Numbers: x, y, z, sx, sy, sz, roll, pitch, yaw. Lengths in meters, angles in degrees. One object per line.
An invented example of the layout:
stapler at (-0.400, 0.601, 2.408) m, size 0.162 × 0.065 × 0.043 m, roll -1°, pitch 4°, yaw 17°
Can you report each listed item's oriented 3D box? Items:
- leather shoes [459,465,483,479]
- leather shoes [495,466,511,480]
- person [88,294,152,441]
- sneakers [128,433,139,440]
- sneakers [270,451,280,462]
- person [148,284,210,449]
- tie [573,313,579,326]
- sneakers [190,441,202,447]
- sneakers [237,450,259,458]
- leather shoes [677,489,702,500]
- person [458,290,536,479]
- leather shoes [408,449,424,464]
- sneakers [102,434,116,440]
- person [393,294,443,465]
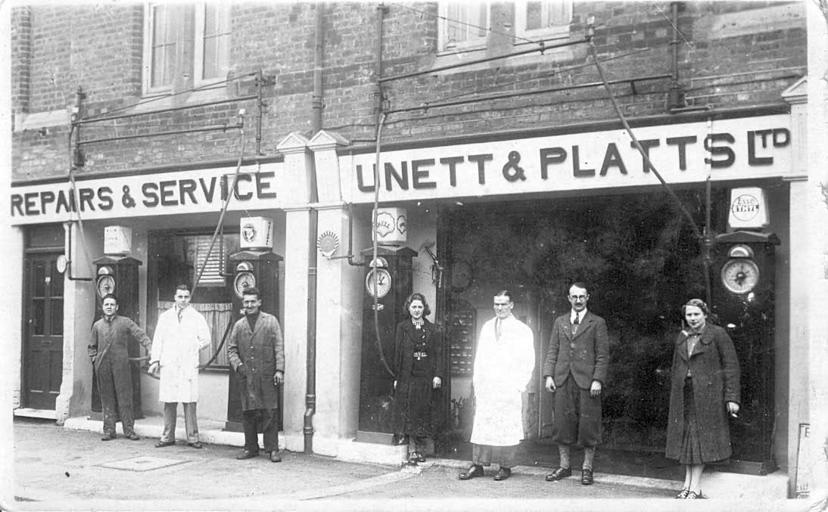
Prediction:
leather shoes at (0.895, 3.156, 14.464) m, size 0.428 × 0.186 × 0.162 m, roll -1°, pitch -6°, yaw -9°
leather shoes at (1.304, 3.137, 14.253) m, size 0.260 × 0.182 × 0.099 m, roll 3°, pitch -8°, yaw -19°
person at (-5.071, 1.851, 16.712) m, size 0.873 × 2.481 × 0.930 m, roll 3°, pitch -8°, yaw -14°
sneakers at (-4.689, 2.998, 16.417) m, size 0.159 × 0.076 × 0.083 m, roll -3°, pitch -3°, yaw 33°
sneakers at (-2.132, 3.079, 15.206) m, size 0.175 × 0.178 × 0.174 m, roll 2°, pitch -8°, yaw -12°
person at (-3.824, 1.781, 16.026) m, size 0.958 × 2.586 × 0.435 m, roll 1°, pitch -8°, yaw -6°
tie at (2.367, 0.934, 14.234) m, size 0.082 × 0.113 × 0.034 m, roll 6°, pitch 3°, yaw -9°
sneakers at (-3.541, 3.033, 15.907) m, size 0.213 × 0.092 × 0.079 m, roll 0°, pitch 3°, yaw 13°
sneakers at (-2.591, 3.078, 15.328) m, size 0.302 × 0.133 × 0.199 m, roll 1°, pitch -8°, yaw 0°
leather shoes at (3.766, 3.214, 13.428) m, size 0.357 × 0.144 × 0.133 m, roll 3°, pitch -2°, yaw -1°
person at (1.270, 1.896, 14.412) m, size 0.969 × 2.685 × 0.404 m, roll 0°, pitch -8°, yaw 6°
leather shoes at (0.048, 3.071, 15.063) m, size 0.228 × 0.214 × 0.148 m, roll 4°, pitch -18°, yaw -1°
sneakers at (-5.091, 3.006, 16.405) m, size 0.089 × 0.096 × 0.230 m, roll -2°, pitch -12°, yaw 35°
person at (0.081, 1.903, 15.114) m, size 0.727 × 2.565 × 0.458 m, roll 1°, pitch -8°, yaw 1°
